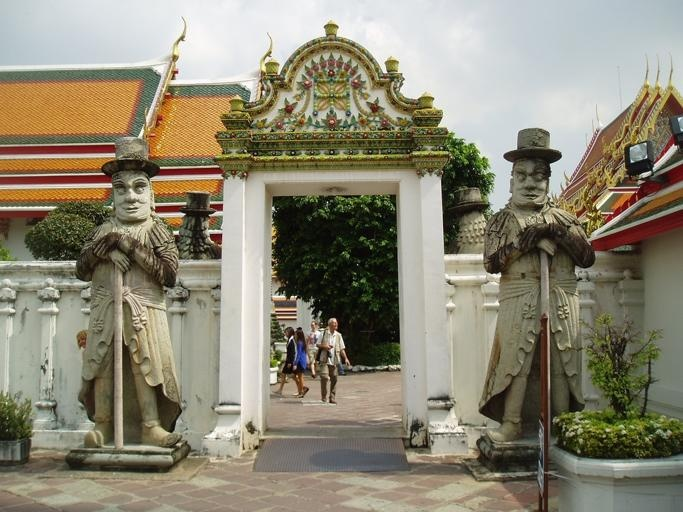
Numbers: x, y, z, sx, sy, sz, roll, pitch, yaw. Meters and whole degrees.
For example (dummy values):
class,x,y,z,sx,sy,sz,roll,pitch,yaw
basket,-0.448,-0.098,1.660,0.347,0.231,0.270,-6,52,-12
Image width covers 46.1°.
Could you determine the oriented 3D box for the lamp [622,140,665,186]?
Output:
class,x,y,z,sx,sy,sz,roll,pitch,yaw
lamp,4.602,-1.372,11.887,0.425,0.675,0.718,-7,-19,37
